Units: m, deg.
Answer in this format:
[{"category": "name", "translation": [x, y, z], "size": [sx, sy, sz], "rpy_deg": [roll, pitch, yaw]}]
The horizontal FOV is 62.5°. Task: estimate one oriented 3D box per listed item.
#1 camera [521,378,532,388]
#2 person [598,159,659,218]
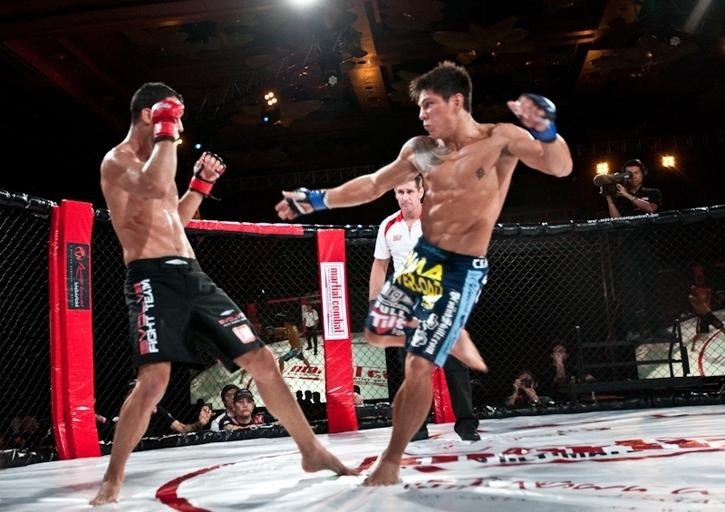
[{"category": "camera", "translation": [1.774, 1.367, 6.435], "size": [0.111, 0.063, 0.097], "rpy_deg": [1, -6, -8]}, {"category": "person", "translation": [3.132, -0.734, 6.840], "size": [0.535, 0.662, 0.986], "rpy_deg": [2, 2, 44]}]
